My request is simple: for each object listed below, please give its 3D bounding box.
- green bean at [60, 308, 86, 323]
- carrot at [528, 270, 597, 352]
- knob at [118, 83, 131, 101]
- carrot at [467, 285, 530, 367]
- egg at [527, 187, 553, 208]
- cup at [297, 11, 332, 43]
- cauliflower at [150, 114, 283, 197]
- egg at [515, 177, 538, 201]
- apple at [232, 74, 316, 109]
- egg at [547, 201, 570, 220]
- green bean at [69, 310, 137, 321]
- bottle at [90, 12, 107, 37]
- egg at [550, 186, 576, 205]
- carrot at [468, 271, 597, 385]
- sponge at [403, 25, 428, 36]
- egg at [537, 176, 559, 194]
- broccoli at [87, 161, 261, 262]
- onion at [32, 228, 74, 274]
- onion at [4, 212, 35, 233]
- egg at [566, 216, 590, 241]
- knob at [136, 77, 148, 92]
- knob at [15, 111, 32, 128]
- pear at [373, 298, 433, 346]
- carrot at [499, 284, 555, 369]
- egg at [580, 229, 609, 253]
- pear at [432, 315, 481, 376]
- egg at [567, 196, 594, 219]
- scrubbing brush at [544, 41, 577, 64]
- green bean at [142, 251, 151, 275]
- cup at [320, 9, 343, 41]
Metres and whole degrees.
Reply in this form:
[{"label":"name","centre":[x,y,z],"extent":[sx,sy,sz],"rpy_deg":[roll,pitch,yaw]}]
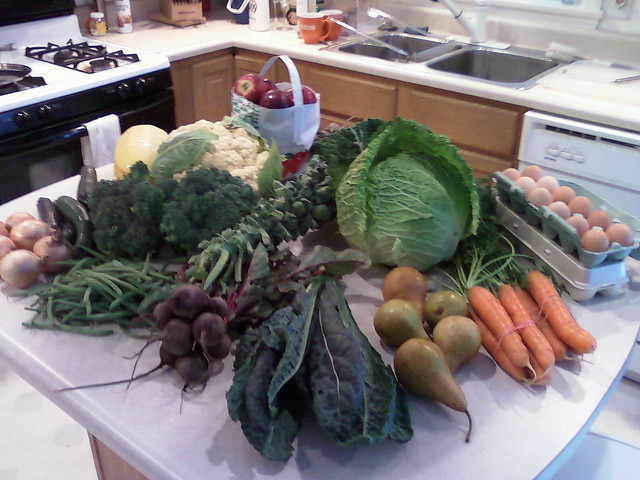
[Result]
[{"label":"green bean","centre":[-0.501,0.154,0.949],"extent":[0.047,0.008,0.013],"rpy_deg":[-26,-8,-18]},{"label":"carrot","centre":[0.487,0.148,0.963],"extent":[0.051,0.056,0.207],"rpy_deg":[-9,49,-13]},{"label":"knob","centre":[-0.977,-0.745,2.326],"extent":[0.020,0.065,0.067],"rpy_deg":[11,9,31]},{"label":"carrot","centre":[0.343,0.168,0.942],"extent":[0.051,0.046,0.172],"rpy_deg":[29,27,-30]},{"label":"egg","centre":[0.515,-0.102,1.103],"extent":[0.046,0.052,0.046],"rpy_deg":[-11,17,-41]},{"label":"cup","centre":[-0.023,-1.230,2.716],"extent":[0.205,0.142,0.141],"rpy_deg":[22,40,31]},{"label":"cauliflower","centre":[-0.254,-0.214,1.204],"extent":[0.282,0.173,0.234],"rpy_deg":[9,9,13]},{"label":"egg","centre":[0.501,-0.134,1.166],"extent":[0.054,0.062,0.053],"rpy_deg":[12,26,33]},{"label":"apple","centre":[-0.135,-0.405,1.310],"extent":[0.200,0.074,0.112],"rpy_deg":[18,1,17]},{"label":"egg","centre":[0.552,-0.069,1.075],"extent":[0.042,0.049,0.042],"rpy_deg":[15,29,27]},{"label":"green bean","centre":[-0.438,0.152,0.942],"extent":[0.079,0.013,0.010],"rpy_deg":[-6,52,2]},{"label":"bottle","centre":[-1.334,-1.296,2.798],"extent":[0.103,0.137,0.147],"rpy_deg":[-3,18,-20]},{"label":"egg","centre":[0.579,-0.110,1.117],"extent":[0.048,0.054,0.047],"rpy_deg":[-3,-2,8]},{"label":"carrot","centre":[0.408,0.170,0.931],"extent":[0.178,0.070,0.206],"rpy_deg":[-17,48,-13]},{"label":"sponge","centre":[0.587,-1.266,2.849],"extent":[0.177,0.050,0.072],"rpy_deg":[-2,-7,5]},{"label":"egg","centre":[0.559,-0.139,1.160],"extent":[0.044,0.051,0.043],"rpy_deg":[4,25,27]},{"label":"broccoli","centre":[-0.345,-0.105,1.138],"extent":[0.330,0.210,0.360],"rpy_deg":[-24,30,-38]},{"label":"onion","centre":[-0.601,0.029,1.045],"extent":[0.061,0.078,0.058],"rpy_deg":[18,44,11]},{"label":"onion","centre":[-0.729,-0.052,1.130],"extent":[0.064,0.051,0.052],"rpy_deg":[-9,24,-31]},{"label":"egg","centre":[0.566,-0.023,1.044],"extent":[0.048,0.054,0.047],"rpy_deg":[1,2,28]},{"label":"knob","centre":[-0.904,-0.799,2.377],"extent":[0.018,0.056,0.059],"rpy_deg":[13,13,42]},{"label":"knob","centre":[-1.281,-0.519,2.007],"extent":[0.019,0.058,0.060],"rpy_deg":[17,14,41]},{"label":"pear","centre":[0.154,0.160,0.959],"extent":[0.106,0.077,0.076],"rpy_deg":[26,36,18]},{"label":"carrot","centre":[0.366,0.178,0.923],"extent":[0.079,0.125,0.111],"rpy_deg":[-4,34,-10]},{"label":"egg","centre":[0.585,0.002,0.998],"extent":[0.049,0.056,0.048],"rpy_deg":[13,50,40]},{"label":"pear","centre":[0.264,0.212,0.916],"extent":[0.092,0.117,0.088],"rpy_deg":[19,10,16]},{"label":"egg","centre":[0.604,-0.079,1.091],"extent":[0.054,0.061,0.053],"rpy_deg":[4,11,16]},{"label":"scrubbing brush","centre":[1.275,-1.003,2.492],"extent":[0.172,0.142,0.042],"rpy_deg":[22,-11,22]},{"label":"green bean","centre":[-0.371,0.050,1.006],"extent":[0.012,0.050,0.007],"rpy_deg":[18,-16,-4]},{"label":"cup","centre":[0.085,-1.328,2.821],"extent":[0.139,0.191,0.183],"rpy_deg":[0,-4,1]}]
